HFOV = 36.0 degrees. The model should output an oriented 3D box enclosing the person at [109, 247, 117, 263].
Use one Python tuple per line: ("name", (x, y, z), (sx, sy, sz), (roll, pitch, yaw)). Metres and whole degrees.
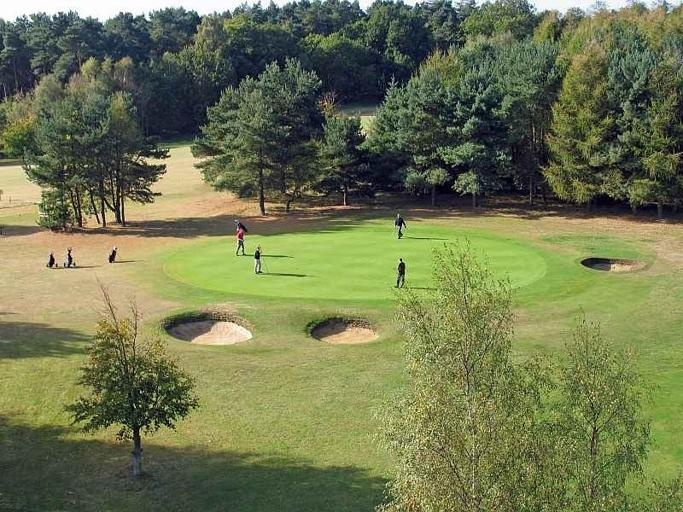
("person", (-23.037, -0.256, 106.343), (0.731, 1.614, 3.636), (-4, 14, -10))
